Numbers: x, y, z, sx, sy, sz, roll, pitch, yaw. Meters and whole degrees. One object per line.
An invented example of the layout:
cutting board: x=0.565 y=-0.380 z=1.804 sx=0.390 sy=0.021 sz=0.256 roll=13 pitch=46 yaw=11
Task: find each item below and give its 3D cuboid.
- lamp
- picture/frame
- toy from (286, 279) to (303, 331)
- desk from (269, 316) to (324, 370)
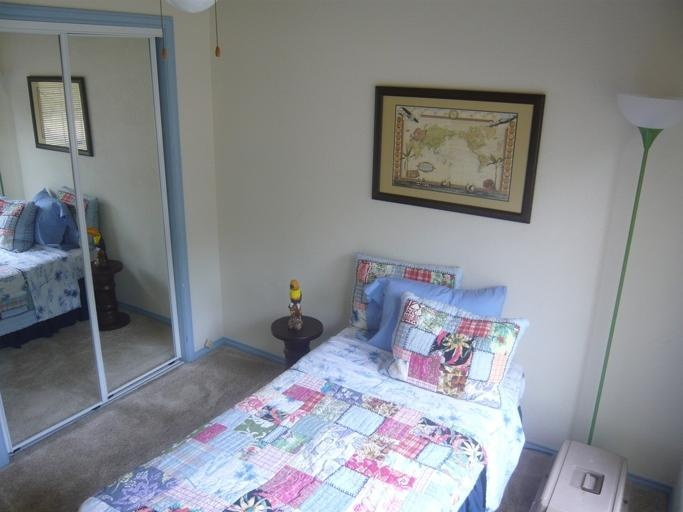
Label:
lamp: x=1.523 y=0.170 z=2.847 sx=0.296 sy=2.088 sz=0.316 roll=15 pitch=21 yaw=31
picture/frame: x=0.765 y=-0.656 z=3.100 sx=0.837 sy=0.642 sz=0.039 roll=10 pitch=20 yaw=24
toy: x=-0.324 y=0.320 z=3.595 sx=0.106 sy=0.328 sz=0.316 roll=3 pitch=18 yaw=-5
desk: x=-0.305 y=0.547 z=3.554 sx=0.327 sy=0.371 sz=0.340 roll=15 pitch=37 yaw=10
